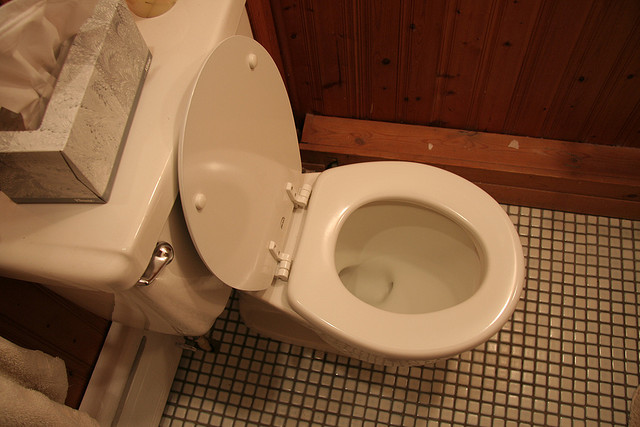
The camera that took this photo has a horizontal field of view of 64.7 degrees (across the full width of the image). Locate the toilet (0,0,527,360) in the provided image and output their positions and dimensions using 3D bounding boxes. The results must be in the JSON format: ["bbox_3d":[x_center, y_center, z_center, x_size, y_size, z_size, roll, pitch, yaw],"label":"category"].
[{"bbox_3d":[-0.016,-0.163,1.499,1.181,1.096,0.877,11,65,8],"label":"toilet"}]
